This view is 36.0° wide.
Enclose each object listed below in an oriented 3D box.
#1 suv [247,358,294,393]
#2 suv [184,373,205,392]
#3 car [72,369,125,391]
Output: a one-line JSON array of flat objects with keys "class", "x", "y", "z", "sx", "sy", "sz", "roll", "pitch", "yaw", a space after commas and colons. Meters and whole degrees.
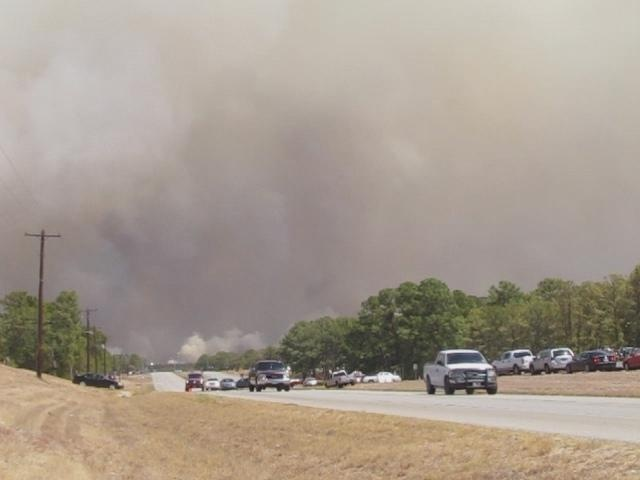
[{"class": "suv", "x": -4.358, "y": 10.891, "z": 79.738, "sx": 1.775, "sy": 1.875, "sz": 3.899, "roll": 2, "pitch": -13, "yaw": -15}, {"class": "suv", "x": -14.094, "y": 15.764, "z": 110.713, "sx": 2.055, "sy": 2.495, "sz": 3.930, "roll": 0, "pitch": -10, "yaw": -4}, {"class": "car", "x": -25.617, "y": 16.138, "z": 111.938, "sx": 2.217, "sy": 1.656, "sz": 8.366, "roll": -2, "pitch": -2, "yaw": 13}]
